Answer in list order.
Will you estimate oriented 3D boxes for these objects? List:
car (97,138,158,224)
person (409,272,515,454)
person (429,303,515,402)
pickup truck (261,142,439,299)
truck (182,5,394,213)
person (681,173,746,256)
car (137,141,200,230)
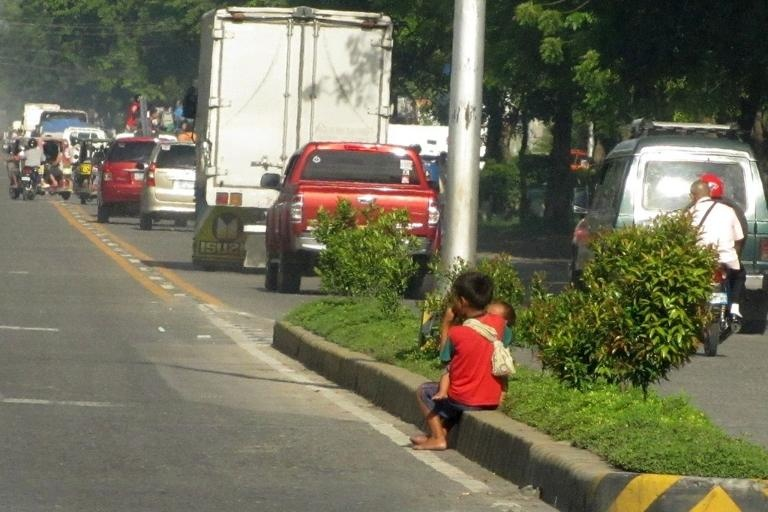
[{"bbox_3d":[-6.638,-2.033,38.342,1.373,1.268,2.981,0,7,-8],"label":"car"},{"bbox_3d":[0.776,1.006,14.228,0.799,1.215,0.953,2,2,-32],"label":"person"},{"bbox_3d":[0.811,0.809,14.445,0.870,1.368,1.048,1,1,4],"label":"person"},{"bbox_3d":[-0.684,-0.581,23.196,3.086,2.437,2.245,4,2,41],"label":"pickup truck"},{"bbox_3d":[-1.915,-2.934,28.243,2.483,2.502,4.235,2,6,-8],"label":"truck"},{"bbox_3d":[4.266,-0.508,19.463,0.839,1.150,0.453,0,-6,-17],"label":"person"},{"bbox_3d":[-5.015,-1.776,34.748,1.242,1.213,2.684,1,11,-6],"label":"car"}]
